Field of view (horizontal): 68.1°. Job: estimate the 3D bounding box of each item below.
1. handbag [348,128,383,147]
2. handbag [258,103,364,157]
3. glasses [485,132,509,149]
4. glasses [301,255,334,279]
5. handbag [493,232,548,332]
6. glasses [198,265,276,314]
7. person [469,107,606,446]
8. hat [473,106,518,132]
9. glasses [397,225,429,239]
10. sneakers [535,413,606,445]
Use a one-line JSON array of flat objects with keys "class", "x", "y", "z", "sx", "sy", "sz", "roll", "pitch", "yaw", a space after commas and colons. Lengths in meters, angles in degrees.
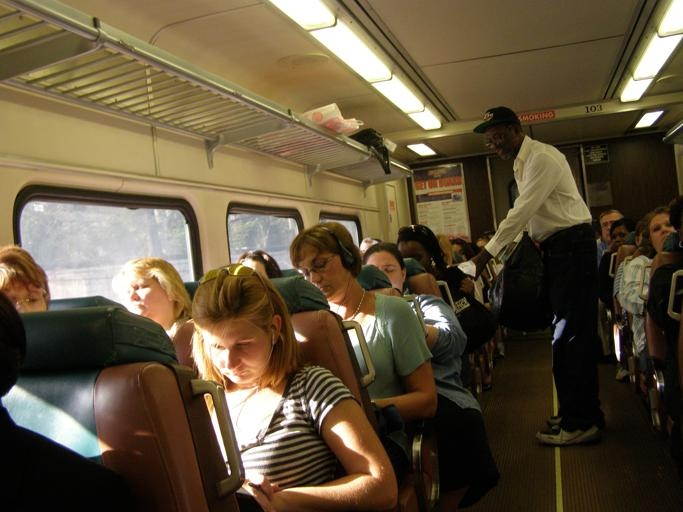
[{"class": "handbag", "x": 0.353, "y": -1.514, "z": 6.500, "sx": 0.318, "sy": 0.095, "sz": 0.321, "roll": 13, "pitch": 7, "yaw": 29}, {"class": "handbag", "x": -0.339, "y": -1.231, "z": 5.205, "sx": 0.861, "sy": 0.288, "sz": 0.906, "roll": 9, "pitch": -22, "yaw": -20}, {"class": "glasses", "x": 1.408, "y": -1.038, "z": 4.592, "sx": 0.121, "sy": 0.111, "sz": 0.140, "roll": -24, "pitch": -21, "yaw": 36}, {"class": "glasses", "x": -0.144, "y": 0.061, "z": 2.917, "sx": 0.143, "sy": 0.050, "sz": 0.150, "roll": -37, "pitch": 0, "yaw": 40}, {"class": "handbag", "x": 1.735, "y": 0.278, "z": 4.844, "sx": 0.513, "sy": 1.056, "sz": 0.975, "roll": 4, "pitch": -17, "yaw": 20}, {"class": "glasses", "x": -0.455, "y": 0.142, "z": 2.097, "sx": 0.217, "sy": 0.241, "sz": 0.074, "roll": -3, "pitch": 28, "yaw": -8}, {"class": "person", "x": 1.766, "y": 0.162, "z": 4.755, "sx": 1.131, "sy": 3.124, "sz": 1.024, "roll": -2, "pitch": -2, "yaw": 0}, {"class": "hat", "x": 1.368, "y": -1.228, "z": 4.546, "sx": 0.337, "sy": 0.205, "sz": 0.263, "roll": 5, "pitch": 8, "yaw": 8}, {"class": "glasses", "x": 0.663, "y": -0.233, "z": 4.706, "sx": 0.175, "sy": 0.101, "sz": 0.149, "roll": 2, "pitch": -8, "yaw": 17}, {"class": "sneakers", "x": 2.006, "y": 1.580, "z": 4.630, "sx": 0.642, "sy": 0.304, "sz": 0.247, "roll": -1, "pitch": -9, "yaw": 13}]
